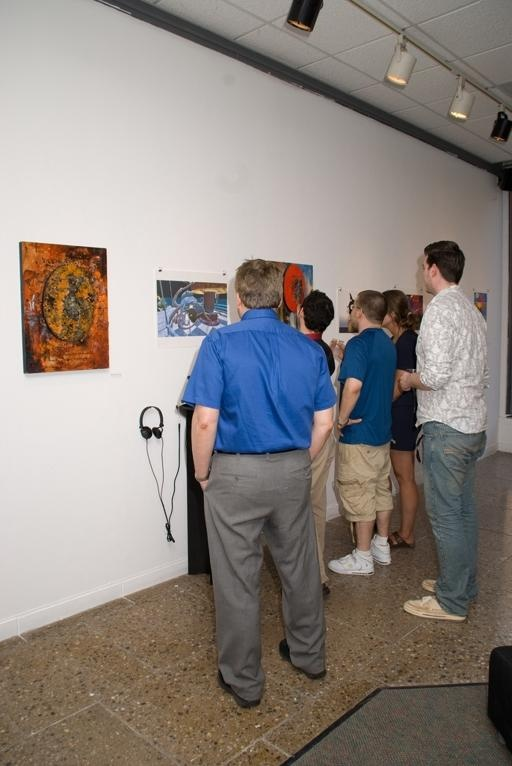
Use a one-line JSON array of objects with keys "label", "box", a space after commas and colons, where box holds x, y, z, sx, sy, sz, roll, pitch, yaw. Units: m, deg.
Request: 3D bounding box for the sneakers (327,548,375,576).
[{"label": "sneakers", "box": [0.533, 1.003, 3.196, 0.274, 0.178, 0.110, 4, -8, 12]}]

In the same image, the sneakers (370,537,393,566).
[{"label": "sneakers", "box": [0.718, 0.979, 3.270, 0.080, 0.103, 0.220, 0, 1, -7]}]

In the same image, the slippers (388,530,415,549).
[{"label": "slippers", "box": [0.900, 0.995, 3.553, 0.142, 0.059, 0.075, 4, -3, -23]}]

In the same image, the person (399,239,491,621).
[{"label": "person", "box": [0.892, 0.217, 2.701, 0.432, 1.773, 0.318, -2, 3, -41]}]

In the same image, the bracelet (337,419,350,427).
[{"label": "bracelet", "box": [0.458, 0.212, 2.972, 0.035, 0.018, 0.048, -2, -18, -3]}]

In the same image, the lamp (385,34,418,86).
[{"label": "lamp", "box": [0.806, -1.810, 3.155, 0.117, 0.221, 0.215, 24, 13, 30]}]

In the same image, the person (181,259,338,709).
[{"label": "person", "box": [0.021, 0.350, 2.020, 0.590, 1.556, 0.286, -1, 3, -19]}]

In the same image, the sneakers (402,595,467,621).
[{"label": "sneakers", "box": [0.861, 1.065, 2.710, 0.242, 0.112, 0.104, 8, -12, 12]}]

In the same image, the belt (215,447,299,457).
[{"label": "belt", "box": [0.001, 0.233, 1.923, 0.277, 0.024, 0.075, 0, 3, -3]}]

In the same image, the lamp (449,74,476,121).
[{"label": "lamp", "box": [1.359, -1.893, 3.746, 0.136, 0.275, 0.221, 1, 3, 25]}]
